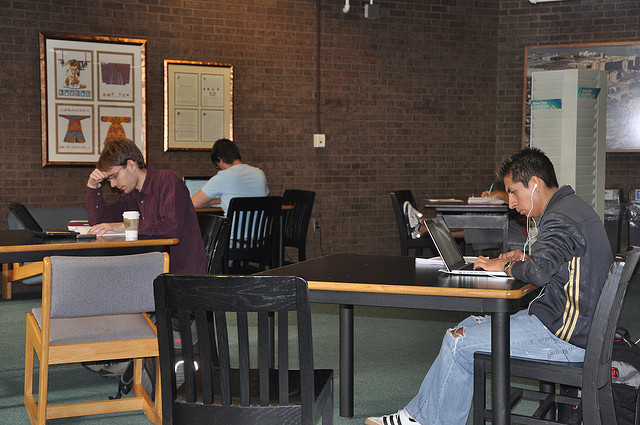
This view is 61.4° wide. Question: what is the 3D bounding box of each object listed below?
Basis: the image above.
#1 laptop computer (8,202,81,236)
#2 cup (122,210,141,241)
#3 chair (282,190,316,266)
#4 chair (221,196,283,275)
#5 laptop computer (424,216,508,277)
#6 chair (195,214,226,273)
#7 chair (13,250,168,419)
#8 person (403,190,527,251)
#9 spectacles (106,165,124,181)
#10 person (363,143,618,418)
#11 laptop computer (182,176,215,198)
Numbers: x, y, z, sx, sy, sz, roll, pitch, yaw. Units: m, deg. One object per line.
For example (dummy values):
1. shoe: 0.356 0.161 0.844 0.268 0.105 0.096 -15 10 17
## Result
1. laptop computer: -1.947 0.076 3.674 0.326 0.174 0.313 8 -15 32
2. cup: -1.200 0.068 3.440 0.131 0.165 0.123 -1 5 0
3. chair: -0.227 0.196 5.949 0.327 0.873 0.537 0 7 -4
4. chair: -0.617 0.217 5.049 0.529 0.742 0.955 0 7 -5
5. laptop computer: 0.736 0.169 2.813 0.322 0.189 0.308 0 2 18
6. chair: -0.686 0.185 3.440 0.174 0.321 0.554 -1 7 -13
7. chair: -1.356 0.682 3.119 0.733 1.074 1.287 -4 8 -30
8. person: 1.449 0.159 5.288 0.779 0.685 0.769 -1 2 19
9. spectacles: -1.315 -0.263 3.496 0.095 0.095 0.028 23 6 25
10. person: 1.196 0.390 3.339 1.567 1.728 1.059 2 1 20
11. laptop computer: -1.197 -0.251 5.379 0.365 0.341 0.035 0 -2 -17
